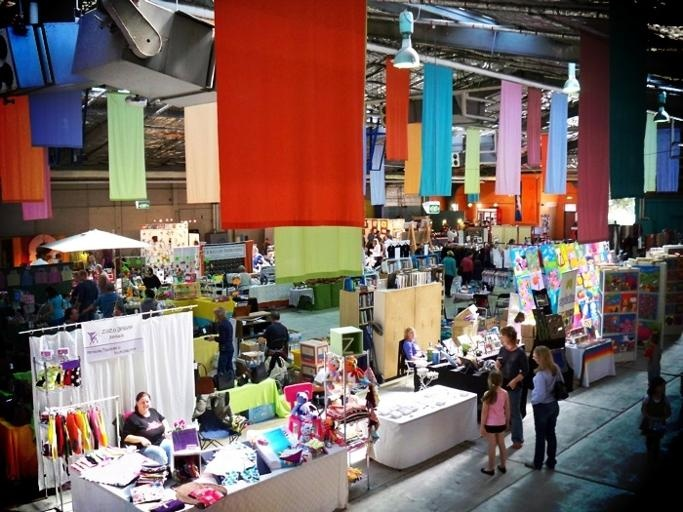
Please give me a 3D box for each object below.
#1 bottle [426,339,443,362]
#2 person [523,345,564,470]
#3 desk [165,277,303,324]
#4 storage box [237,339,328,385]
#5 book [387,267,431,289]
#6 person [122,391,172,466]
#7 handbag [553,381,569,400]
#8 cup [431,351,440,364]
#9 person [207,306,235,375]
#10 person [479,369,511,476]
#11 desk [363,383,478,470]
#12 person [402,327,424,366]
[{"bbox_3d":[1.566,1.681,9.915,0.220,0.436,0.383,-2,-5,37],"label":"bottle"},{"bbox_3d":[2.672,2.013,7.572,0.470,1.646,0.387,-3,2,-8],"label":"person"},{"bbox_3d":[-2.576,1.080,14.370,2.000,0.901,5.975,-3,2,6],"label":"desk"},{"bbox_3d":[-1.023,1.808,9.723,1.514,0.575,1.022,-5,2,-28],"label":"storage box"},{"bbox_3d":[1.350,0.439,11.175,0.363,0.203,1.108,-2,2,42],"label":"book"},{"bbox_3d":[-2.350,2.083,6.837,0.493,0.918,0.412,-35,-23,33],"label":"person"},{"bbox_3d":[2.876,1.757,7.493,0.135,0.274,0.259,-2,2,32],"label":"handbag"},{"bbox_3d":[1.589,1.710,9.633,0.120,0.192,0.196,-3,2,9],"label":"cup"},{"bbox_3d":[-1.966,1.401,9.623,0.289,0.913,0.524,-3,2,-14],"label":"person"},{"bbox_3d":[2.010,2.169,7.520,0.388,1.384,0.490,-3,2,6],"label":"person"},{"bbox_3d":[1.182,2.388,8.035,1.582,0.580,0.527,-5,2,-34],"label":"desk"},{"bbox_3d":[1.245,1.557,9.768,0.345,0.607,0.745,-3,2,7],"label":"person"}]
